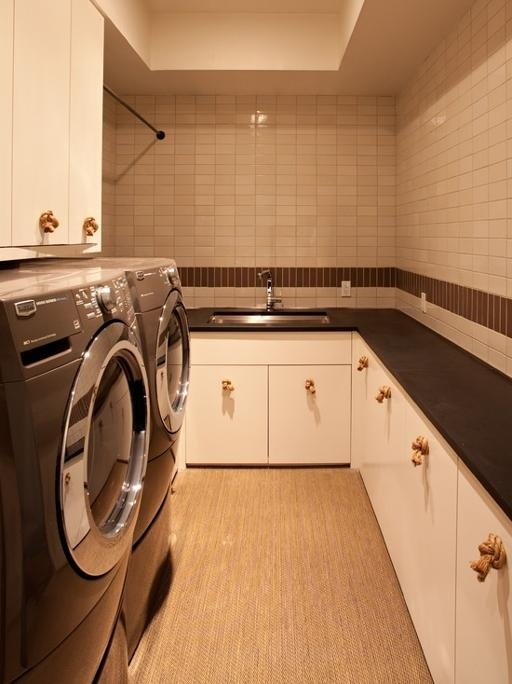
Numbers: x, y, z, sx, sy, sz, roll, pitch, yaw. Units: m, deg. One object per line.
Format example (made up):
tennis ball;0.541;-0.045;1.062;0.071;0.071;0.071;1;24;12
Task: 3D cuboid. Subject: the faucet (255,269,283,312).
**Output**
faucet;0.100;-0.376;3.218;0.140;0.514;0.284;-1;-3;11
